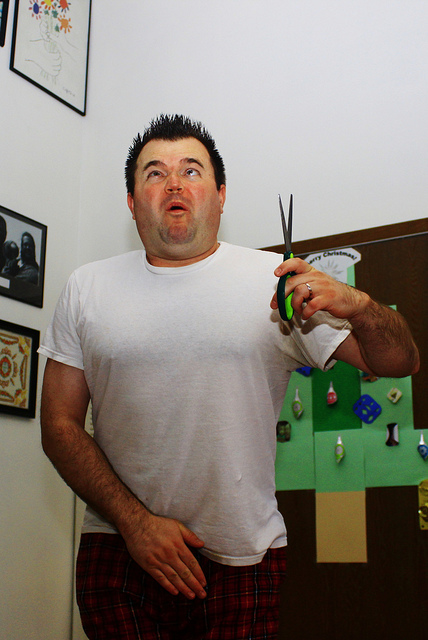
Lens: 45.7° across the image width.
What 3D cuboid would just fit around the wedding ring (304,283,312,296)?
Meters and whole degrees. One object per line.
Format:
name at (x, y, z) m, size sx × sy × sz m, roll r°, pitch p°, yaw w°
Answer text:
wedding ring at (0.122, -0.040, 0.663) m, size 0.010 × 0.016 × 0.007 m, roll -1°, pitch 1°, yaw -42°

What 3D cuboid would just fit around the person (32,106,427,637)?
person at (-0.021, 0.036, 0.892) m, size 0.434 × 0.939 × 0.602 m, roll -1°, pitch 1°, yaw -40°
